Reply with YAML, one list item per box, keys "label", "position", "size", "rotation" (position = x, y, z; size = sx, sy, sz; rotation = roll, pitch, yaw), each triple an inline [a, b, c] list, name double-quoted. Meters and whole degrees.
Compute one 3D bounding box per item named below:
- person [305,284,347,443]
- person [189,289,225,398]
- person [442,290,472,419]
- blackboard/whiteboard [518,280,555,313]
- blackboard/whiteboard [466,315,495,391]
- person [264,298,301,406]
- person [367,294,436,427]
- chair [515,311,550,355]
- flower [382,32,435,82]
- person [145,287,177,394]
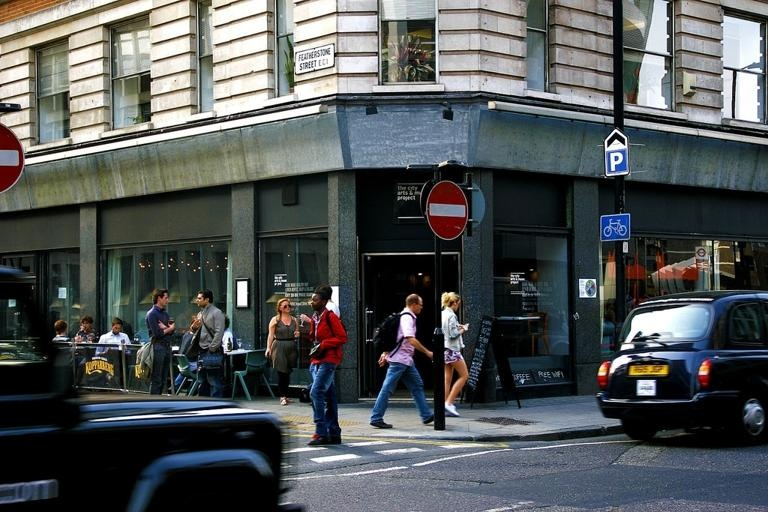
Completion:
- label: "person"
  position: [-0.931, 1.863, 15.942]
  size: [0.923, 2.184, 0.775]
  rotation: [0, -1, -24]
- label: "person"
  position: [-3.375, 1.774, 18.540]
  size: [0.762, 2.275, 0.564]
  rotation: [1, 2, 43]
- label: "person"
  position: [1.326, 1.875, 18.333]
  size: [0.796, 2.000, 0.678]
  rotation: [0, -1, 3]
- label: "blackboard/whiteboard"
  position: [3.213, 0.851, 20.965]
  size: [0.681, 0.690, 0.346]
  rotation: [1, 5, 18]
- label: "blackboard/whiteboard"
  position: [1.884, 1.981, 19.318]
  size: [0.101, 1.622, 0.381]
  rotation: [16, -6, -30]
- label: "person"
  position: [-2.119, 1.935, 20.224]
  size: [0.700, 2.044, 0.750]
  rotation: [0, -1, -11]
- label: "person"
  position: [0.356, 1.875, 17.242]
  size: [1.222, 2.312, 0.911]
  rotation: [-2, -5, 12]
- label: "chair"
  position: [3.109, 1.691, 20.932]
  size: [0.688, 0.970, 0.699]
  rotation: [1, -5, -8]
- label: "flower"
  position: [0.492, -4.131, 20.038]
  size: [1.057, 1.021, 0.240]
  rotation: [0, 3, -2]
- label: "person"
  position: [-4.447, 1.832, 19.589]
  size: [0.593, 2.338, 0.723]
  rotation: [-2, -2, 17]
